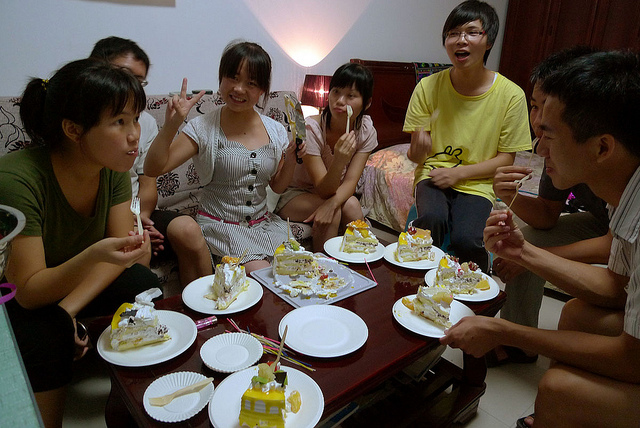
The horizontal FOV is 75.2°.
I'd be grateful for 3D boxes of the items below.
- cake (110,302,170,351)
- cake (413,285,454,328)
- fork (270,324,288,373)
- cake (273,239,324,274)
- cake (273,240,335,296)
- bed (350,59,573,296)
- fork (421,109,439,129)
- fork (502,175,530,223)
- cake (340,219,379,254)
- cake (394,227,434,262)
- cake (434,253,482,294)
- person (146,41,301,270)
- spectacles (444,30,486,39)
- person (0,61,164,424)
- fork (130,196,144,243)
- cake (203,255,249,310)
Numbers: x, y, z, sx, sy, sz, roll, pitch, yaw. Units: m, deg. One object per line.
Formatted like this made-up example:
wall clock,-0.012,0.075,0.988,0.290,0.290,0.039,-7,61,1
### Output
cake,-0.681,0.423,1.573,0.182,0.068,0.137,-6,33,-22
cake,0.474,0.376,1.757,0.118,0.124,0.160,-6,26,-22
fork,-0.138,0.478,1.402,0.031,0.209,0.023,24,16,36
cake,-0.104,0.209,1.951,0.242,0.156,0.134,11,34,10
cake,-0.094,0.251,1.895,0.268,0.112,0.208,31,38,9
bed,0.861,-0.209,3.969,1.934,1.440,1.922,-21,38,-39
fork,0.688,-0.630,2.639,0.036,0.122,0.089,31,13,-17
fork,0.987,-0.081,2.092,0.042,0.326,0.049,10,24,9
cake,0.207,0.118,2.148,0.201,0.162,0.103,9,21,14
cake,0.472,0.134,2.140,0.204,0.170,0.190,7,17,13
cake,0.661,0.278,1.932,0.217,0.164,0.145,3,7,40
person,-0.453,-0.329,2.341,0.973,1.240,0.669,-1,12,-21
spectacles,0.879,-1.097,2.506,0.230,0.058,0.095,11,26,14
person,-0.960,0.098,1.672,0.618,1.317,0.534,-10,27,-27
fork,-0.699,-0.010,1.616,0.055,0.241,0.026,-27,-28,38
cake,-0.408,0.279,1.820,0.179,0.176,0.338,7,5,-4
